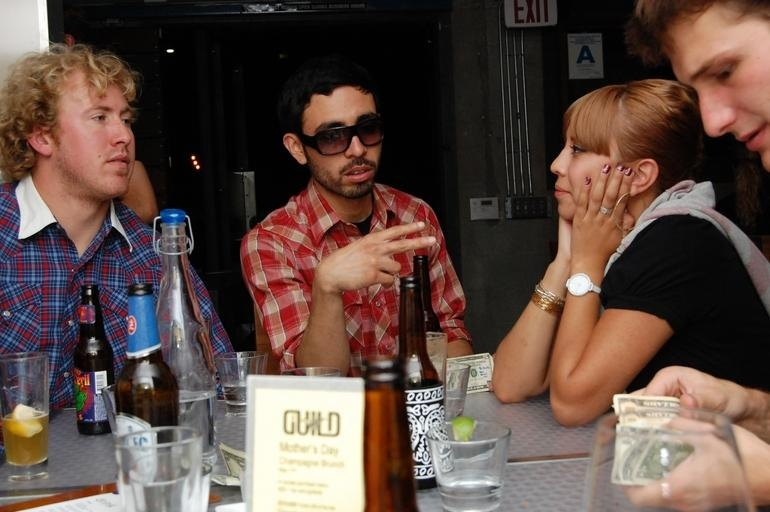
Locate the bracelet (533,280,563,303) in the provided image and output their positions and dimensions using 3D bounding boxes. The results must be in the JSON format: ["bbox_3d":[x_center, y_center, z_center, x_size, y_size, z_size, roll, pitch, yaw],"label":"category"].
[{"bbox_3d":[0.521,0.112,1.885,0.061,0.030,0.065,17,0,-40],"label":"bracelet"}]

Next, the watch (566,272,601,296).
[{"bbox_3d":[0.574,0.087,1.711,0.080,0.055,0.077,7,-18,27],"label":"watch"}]

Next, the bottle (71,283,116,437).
[{"bbox_3d":[-0.726,0.251,1.484,0.089,0.370,0.147,-3,7,-21],"label":"bottle"}]

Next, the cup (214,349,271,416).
[{"bbox_3d":[-0.385,0.344,1.602,0.135,0.141,0.104,-2,7,-12],"label":"cup"}]
